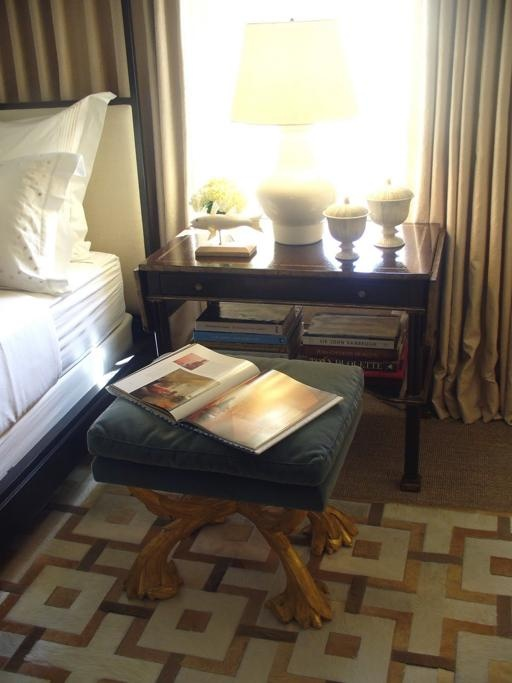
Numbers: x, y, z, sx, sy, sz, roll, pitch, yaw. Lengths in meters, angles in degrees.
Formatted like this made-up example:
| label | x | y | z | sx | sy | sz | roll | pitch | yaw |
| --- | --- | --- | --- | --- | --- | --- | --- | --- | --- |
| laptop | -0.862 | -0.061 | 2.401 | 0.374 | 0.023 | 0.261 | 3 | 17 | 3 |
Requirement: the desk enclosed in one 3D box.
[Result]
| label | x | y | z | sx | sy | sz | roll | pitch | yaw |
| --- | --- | --- | --- | --- | --- | --- | --- | --- | --- |
| desk | 0.166 | 0.167 | 1.960 | 1.153 | 0.873 | 0.772 | 1 | 27 | 11 |

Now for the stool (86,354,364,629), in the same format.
| label | x | y | z | sx | sy | sz | roll | pitch | yaw |
| --- | --- | --- | --- | --- | --- | --- | --- | --- | --- |
| stool | -0.018 | 0.272 | 1.270 | 0.542 | 0.443 | 0.584 | 5 | 25 | 12 |

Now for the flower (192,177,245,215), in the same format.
| label | x | y | z | sx | sy | sz | roll | pitch | yaw |
| --- | --- | --- | --- | --- | --- | --- | --- | --- | --- |
| flower | -0.133 | -0.476 | 1.683 | 0.115 | 0.123 | 0.142 | -14 | 37 | -31 |

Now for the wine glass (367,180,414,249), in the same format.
| label | x | y | z | sx | sy | sz | roll | pitch | yaw |
| --- | --- | --- | --- | --- | --- | --- | --- | --- | --- |
| wine glass | 0.379 | -0.359 | 1.471 | 0.111 | 0.195 | 0.106 | 12 | 29 | 31 |

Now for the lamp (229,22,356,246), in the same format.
| label | x | y | z | sx | sy | sz | roll | pitch | yaw |
| --- | --- | --- | --- | --- | --- | --- | --- | --- | --- |
| lamp | 0.112 | -0.583 | 1.508 | 0.359 | 0.620 | 0.162 | -4 | 24 | -1 |
